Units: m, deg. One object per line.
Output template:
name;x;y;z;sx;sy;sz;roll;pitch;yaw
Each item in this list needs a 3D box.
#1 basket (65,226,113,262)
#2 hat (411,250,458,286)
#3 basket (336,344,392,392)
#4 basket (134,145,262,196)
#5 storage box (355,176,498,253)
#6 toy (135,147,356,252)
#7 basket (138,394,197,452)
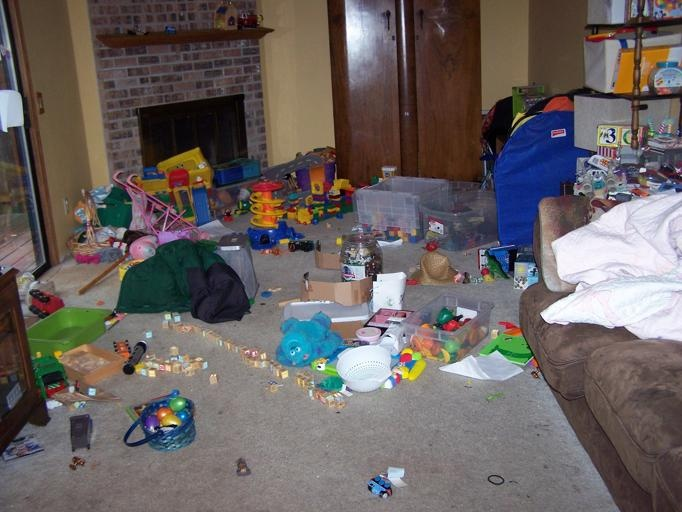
basket;-2.112;-0.088;4.462;0.321;0.148;0.351;4;19;2
hat;0.668;0.066;3.743;0.359;0.164;0.323;-9;22;-23
basket;0.118;0.551;2.594;0.270;0.167;0.228;-3;20;4
basket;-1.416;-0.882;5.359;0.541;0.498;1.443;1;20;13
storage box;0.708;-0.406;4.520;1.027;0.359;0.660;11;22;38
toy;-0.630;-0.542;5.295;1.543;0.433;1.052;-15;28;-11
basket;-0.756;0.734;2.311;0.219;0.133;0.272;-10;20;-15
